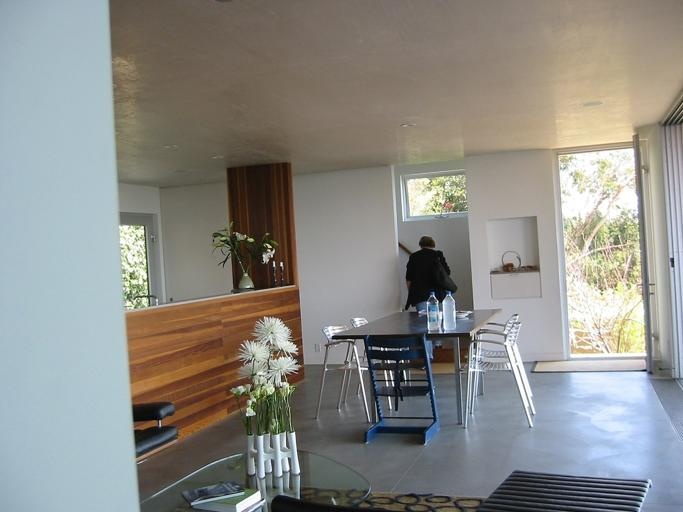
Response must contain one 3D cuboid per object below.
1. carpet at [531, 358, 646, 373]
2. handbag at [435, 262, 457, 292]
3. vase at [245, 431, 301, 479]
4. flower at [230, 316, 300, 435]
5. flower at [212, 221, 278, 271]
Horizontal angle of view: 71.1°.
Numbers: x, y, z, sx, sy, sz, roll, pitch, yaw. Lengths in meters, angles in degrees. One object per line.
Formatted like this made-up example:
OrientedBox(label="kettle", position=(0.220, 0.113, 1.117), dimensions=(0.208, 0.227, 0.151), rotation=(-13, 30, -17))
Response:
OrientedBox(label="carpet", position=(3.479, 1.537, 6.750), dimensions=(1.508, 0.028, 0.886), rotation=(-4, -2, 16))
OrientedBox(label="handbag", position=(1.564, 0.325, 7.200), dimensions=(0.175, 0.393, 0.395), rotation=(-19, -26, 18))
OrientedBox(label="vase", position=(-0.370, 1.059, 2.539), dimensions=(0.263, 0.212, 0.269), rotation=(6, -21, -16))
OrientedBox(label="flower", position=(-0.410, 0.697, 2.663), dimensions=(0.369, 0.536, 0.549), rotation=(-3, -1, -12))
OrientedBox(label="flower", position=(-1.463, -0.061, 6.901), dimensions=(0.762, 0.672, 0.831), rotation=(1, -25, -40))
